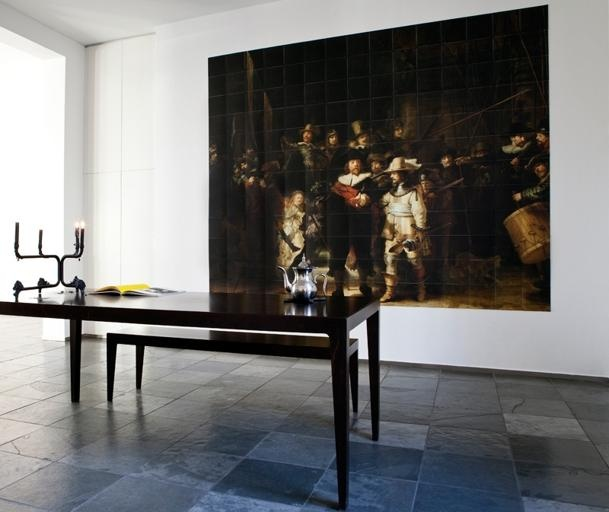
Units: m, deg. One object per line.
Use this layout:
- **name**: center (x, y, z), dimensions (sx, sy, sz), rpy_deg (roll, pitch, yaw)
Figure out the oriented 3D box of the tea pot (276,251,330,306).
- **tea pot**: center (-0.009, 0.134, 3.423), dimensions (0.337, 0.332, 0.241), rpy_deg (-1, -5, 37)
